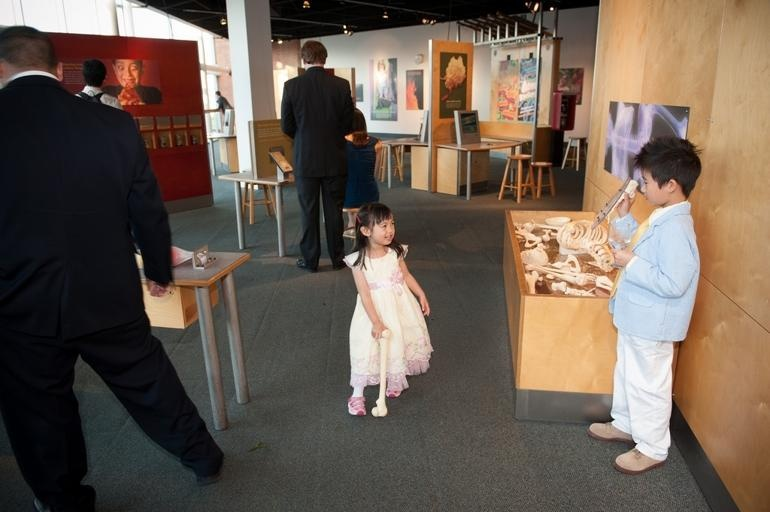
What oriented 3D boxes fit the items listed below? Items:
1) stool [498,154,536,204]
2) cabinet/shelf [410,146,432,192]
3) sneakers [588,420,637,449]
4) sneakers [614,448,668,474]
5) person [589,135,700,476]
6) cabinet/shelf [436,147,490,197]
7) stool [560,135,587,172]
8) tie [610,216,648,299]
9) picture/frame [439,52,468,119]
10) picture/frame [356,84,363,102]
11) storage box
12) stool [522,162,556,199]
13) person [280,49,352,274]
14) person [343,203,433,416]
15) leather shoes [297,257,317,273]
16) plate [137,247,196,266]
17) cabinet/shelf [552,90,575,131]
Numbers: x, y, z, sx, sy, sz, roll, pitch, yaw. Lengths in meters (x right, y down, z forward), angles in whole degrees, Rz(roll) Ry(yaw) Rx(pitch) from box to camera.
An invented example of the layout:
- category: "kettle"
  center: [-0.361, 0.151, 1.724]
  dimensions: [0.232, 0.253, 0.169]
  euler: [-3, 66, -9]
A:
- category: "stool"
  center: [2.509, -1.517, 9.900]
  dimensions: [0.699, 0.809, 0.748]
  euler: [3, 15, -2]
- category: "cabinet/shelf"
  center: [0.690, -1.799, 10.428]
  dimensions: [0.202, 0.872, 0.514]
  euler: [-10, 18, -22]
- category: "sneakers"
  center: [1.478, 1.160, 3.338]
  dimensions: [0.215, 0.094, 0.118]
  euler: [11, 14, 20]
- category: "sneakers"
  center: [1.564, 1.260, 3.158]
  dimensions: [0.291, 0.126, 0.128]
  euler: [1, 16, -1]
- category: "person"
  center: [1.541, 0.311, 3.042]
  dimensions: [0.488, 1.967, 0.520]
  euler: [8, 20, 32]
- category: "cabinet/shelf"
  center: [1.578, -1.732, 10.231]
  dimensions: [0.972, 0.917, 0.695]
  euler: [-15, 22, -42]
- category: "stool"
  center: [5.056, -2.726, 13.517]
  dimensions: [0.675, 0.838, 0.639]
  euler: [-13, 31, -16]
- category: "tie"
  center: [1.489, -0.020, 3.120]
  dimensions: [0.129, 0.122, 0.665]
  euler: [8, 45, 39]
- category: "picture/frame"
  center: [1.346, -3.356, 10.114]
  dimensions: [0.135, 1.224, 0.909]
  euler: [13, 23, 42]
- category: "picture/frame"
  center: [-1.059, -6.873, 21.581]
  dimensions: [0.208, 0.708, 0.616]
  euler: [-10, 18, -24]
- category: "storage box"
  center: [1.275, 0.474, 3.654]
  dimensions: [0.441, 0.543, 1.512]
  euler: [2, 27, 10]
- category: "stool"
  center: [3.000, -1.469, 9.834]
  dimensions: [0.535, 0.591, 0.535]
  euler: [-17, 21, -40]
- category: "person"
  center: [-0.791, -1.142, 5.997]
  dimensions: [0.797, 2.556, 0.731]
  euler: [-4, 11, -19]
- category: "person"
  center: [0.012, 0.359, 3.661]
  dimensions: [0.648, 1.440, 0.519]
  euler: [-3, 17, -3]
- category: "leather shoes"
  center: [-0.934, 0.116, 6.134]
  dimensions: [0.260, 0.115, 0.131]
  euler: [24, 29, 33]
- category: "plate"
  center: [-1.314, 0.001, 3.259]
  dimensions: [0.219, 0.075, 0.242]
  euler: [0, 5, -6]
- category: "cabinet/shelf"
  center: [4.212, -3.385, 12.072]
  dimensions: [0.606, 0.875, 0.362]
  euler: [-5, 17, -8]
